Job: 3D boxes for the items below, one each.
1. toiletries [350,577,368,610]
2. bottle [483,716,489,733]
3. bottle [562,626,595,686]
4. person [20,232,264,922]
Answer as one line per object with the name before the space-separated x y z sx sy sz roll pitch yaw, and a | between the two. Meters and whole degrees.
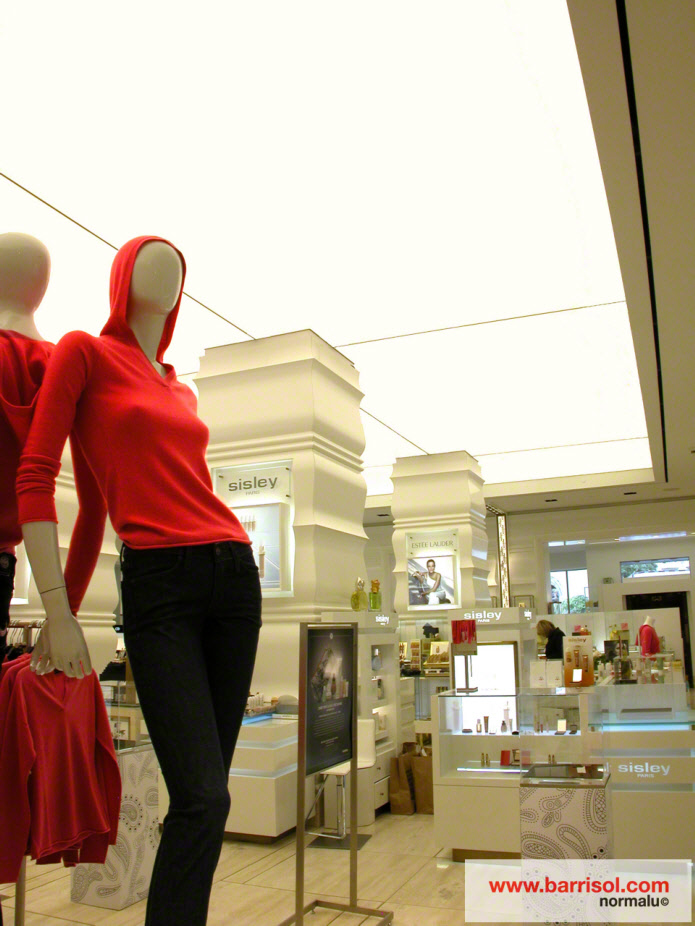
toiletries | 0.094 0.987 5.038 0.123 0.275 0.140 1 -11 9
bottle | 0.650 1.237 3.198 0.025 0.088 0.086 -2 -13 8
bottle | 1.443 1.249 4.283 0.187 0.296 0.385 -5 -14 17
person | -0.323 0.103 1.143 0.352 1.178 0.365 1 -12 -9
